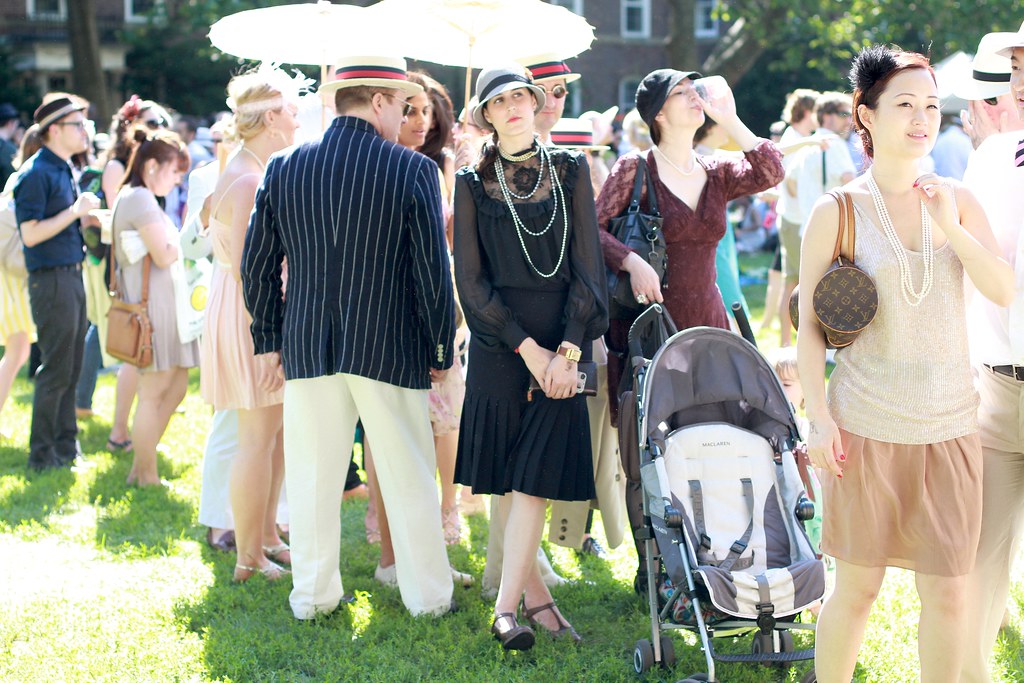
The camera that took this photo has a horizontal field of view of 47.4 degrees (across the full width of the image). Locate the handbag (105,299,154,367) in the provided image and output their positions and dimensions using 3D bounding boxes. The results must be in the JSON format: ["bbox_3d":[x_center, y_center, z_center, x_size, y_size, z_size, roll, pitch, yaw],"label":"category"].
[{"bbox_3d":[-2.787,-0.067,8.567,0.376,0.446,0.164,12,7,40],"label":"handbag"}]

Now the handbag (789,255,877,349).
[{"bbox_3d":[1.614,-0.193,5.859,0.381,0.410,0.302,-8,54,-44],"label":"handbag"}]

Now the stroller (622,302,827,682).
[{"bbox_3d":[1.140,0.844,6.444,1.183,1.975,0.995,4,9,17],"label":"stroller"}]
